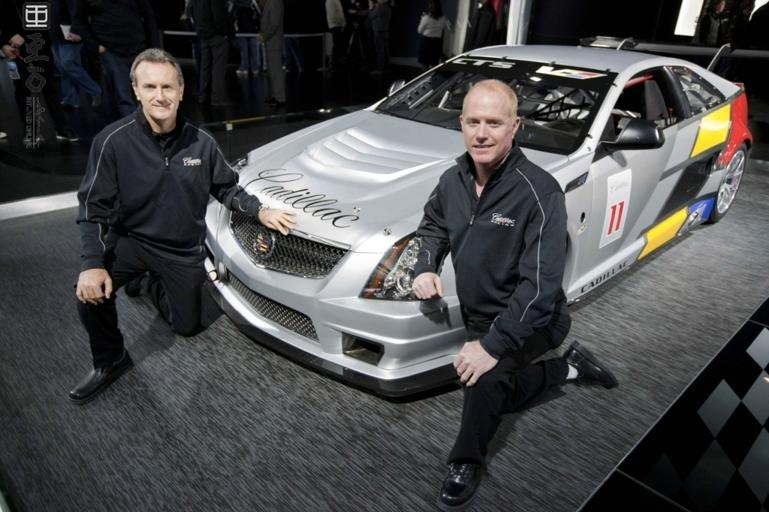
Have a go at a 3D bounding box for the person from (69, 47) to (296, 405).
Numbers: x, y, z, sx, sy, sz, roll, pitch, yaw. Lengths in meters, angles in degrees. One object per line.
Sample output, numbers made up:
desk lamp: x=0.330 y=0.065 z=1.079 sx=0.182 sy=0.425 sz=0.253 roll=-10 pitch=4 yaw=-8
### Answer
person: x=-1.381 y=-0.234 z=2.474 sx=1.156 sy=1.862 sz=0.709 roll=-10 pitch=26 yaw=-24

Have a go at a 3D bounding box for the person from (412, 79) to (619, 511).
person: x=0.616 y=0.103 z=2.084 sx=1.105 sy=1.826 sz=0.828 roll=-10 pitch=26 yaw=-26

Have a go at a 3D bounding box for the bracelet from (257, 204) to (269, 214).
bracelet: x=-0.710 y=-0.281 z=2.385 sx=0.053 sy=0.019 sz=0.051 roll=-19 pitch=24 yaw=-32

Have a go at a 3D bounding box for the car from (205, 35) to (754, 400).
car: x=1.137 y=-0.673 z=3.140 sx=4.321 sy=1.333 sz=2.165 roll=-27 pitch=41 yaw=-32

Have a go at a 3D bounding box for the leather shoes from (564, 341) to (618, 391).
leather shoes: x=1.307 y=0.710 z=2.573 sx=0.121 sy=0.095 sz=0.285 roll=-43 pitch=87 yaw=-14
